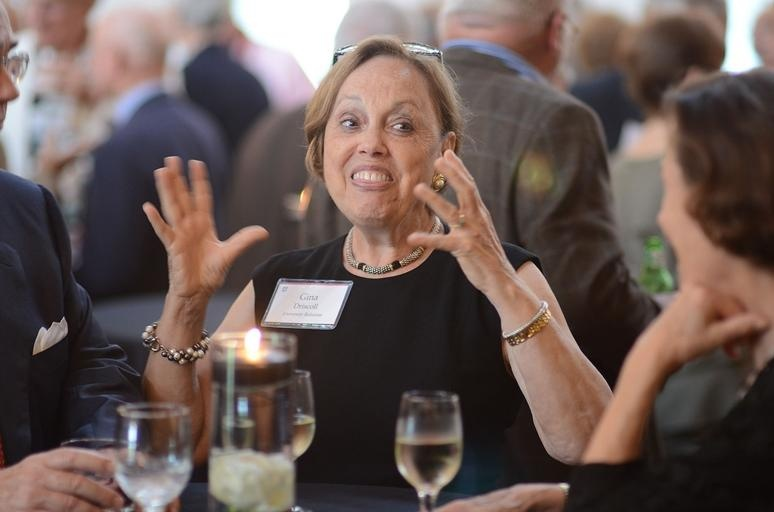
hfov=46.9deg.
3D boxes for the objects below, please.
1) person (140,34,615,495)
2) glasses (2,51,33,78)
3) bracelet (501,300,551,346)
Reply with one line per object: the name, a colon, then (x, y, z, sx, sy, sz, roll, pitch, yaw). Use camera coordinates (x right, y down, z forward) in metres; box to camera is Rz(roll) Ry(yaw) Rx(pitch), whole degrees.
person: (0.033, 0.031, 2.987, 1.280, 1.009, 1.990, -6, 59, 15)
glasses: (-1.173, -0.606, 2.818, 0.062, 0.081, 0.079, 0, -3, -2)
bracelet: (0.419, 0.205, 2.661, 0.124, 0.037, 0.124, -44, 7, -3)
